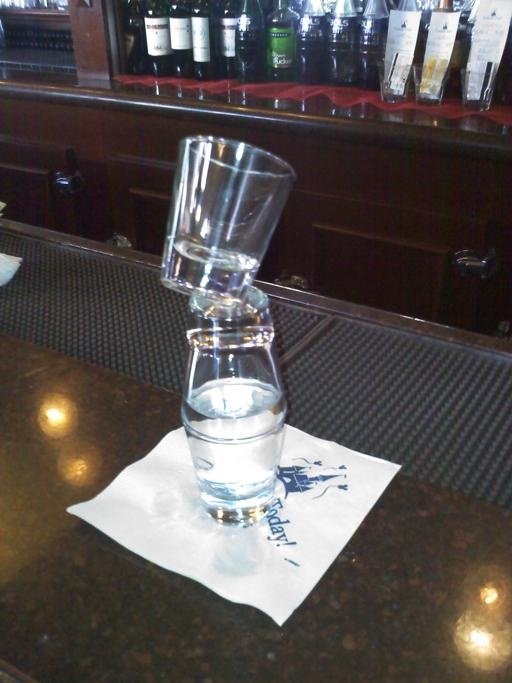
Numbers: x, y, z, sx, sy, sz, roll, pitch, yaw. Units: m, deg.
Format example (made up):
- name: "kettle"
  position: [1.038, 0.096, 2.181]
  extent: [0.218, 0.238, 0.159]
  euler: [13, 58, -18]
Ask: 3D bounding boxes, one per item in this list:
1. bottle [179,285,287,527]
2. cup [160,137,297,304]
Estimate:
- name: "bottle"
  position: [-0.011, 0.045, 0.342]
  extent: [0.065, 0.153, 0.068]
  euler: [-2, 20, 1]
- name: "cup"
  position: [-0.018, -0.083, 0.433]
  extent: [0.103, 0.126, 0.113]
  euler: [18, 21, -14]
